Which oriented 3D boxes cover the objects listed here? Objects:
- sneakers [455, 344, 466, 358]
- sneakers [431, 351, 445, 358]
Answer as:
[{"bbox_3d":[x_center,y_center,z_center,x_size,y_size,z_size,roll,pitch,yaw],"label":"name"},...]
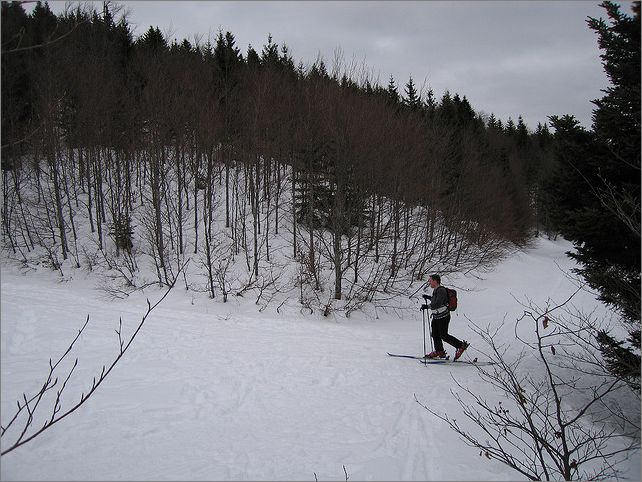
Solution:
[{"bbox_3d":[4.984,3.900,18.633,0.239,0.610,0.189,34,21,3],"label":"sneakers"},{"bbox_3d":[4.188,4.040,18.711,0.530,0.283,0.213,4,-6,15],"label":"sneakers"}]
